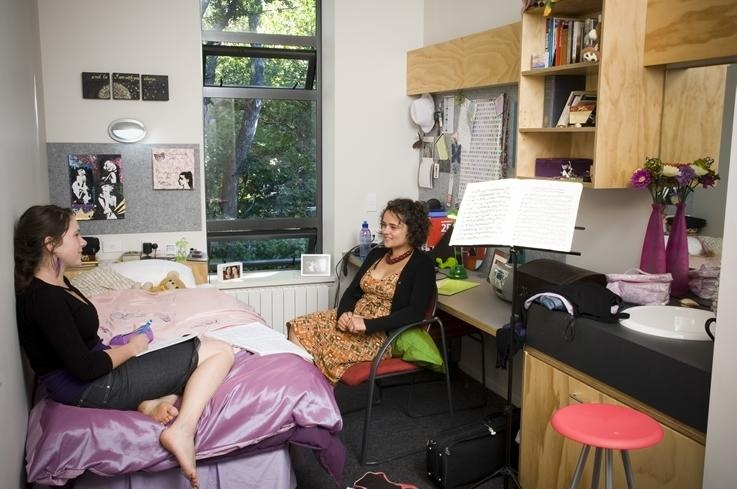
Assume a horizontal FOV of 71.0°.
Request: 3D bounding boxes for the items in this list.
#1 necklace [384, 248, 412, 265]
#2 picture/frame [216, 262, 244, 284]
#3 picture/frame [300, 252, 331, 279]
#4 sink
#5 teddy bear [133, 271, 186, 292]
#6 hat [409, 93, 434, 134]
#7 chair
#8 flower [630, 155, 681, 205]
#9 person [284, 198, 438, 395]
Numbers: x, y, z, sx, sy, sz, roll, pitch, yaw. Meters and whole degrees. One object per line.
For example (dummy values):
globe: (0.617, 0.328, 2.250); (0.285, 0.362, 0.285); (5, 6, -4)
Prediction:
necklace: (0.206, 0.086, 3.702); (0.128, 0.030, 0.129); (-20, 19, -7)
picture/frame: (-1.272, 0.236, 4.721); (0.257, 0.185, 0.148); (-2, 3, -37)
picture/frame: (-0.502, 0.195, 4.865); (0.239, 0.184, 0.024); (2, 0, -9)
sink: (1.448, 0.387, 2.521); (0.383, 0.108, 0.362); (7, 15, 33)
teddy bear: (-1.599, 0.295, 4.039); (0.285, 0.219, 0.192); (-2, -11, -40)
hat: (0.497, -1.202, 4.737); (0.109, 0.315, 0.268); (-15, 10, -41)
chair: (0.315, 0.797, 3.673); (0.895, 1.362, 0.916); (-5, -9, -12)
flower: (1.569, -0.347, 2.813); (0.248, 0.240, 0.246); (-2, 3, -37)
person: (-0.090, 0.417, 3.660); (1.080, 1.413, 0.790); (-7, 18, -25)
